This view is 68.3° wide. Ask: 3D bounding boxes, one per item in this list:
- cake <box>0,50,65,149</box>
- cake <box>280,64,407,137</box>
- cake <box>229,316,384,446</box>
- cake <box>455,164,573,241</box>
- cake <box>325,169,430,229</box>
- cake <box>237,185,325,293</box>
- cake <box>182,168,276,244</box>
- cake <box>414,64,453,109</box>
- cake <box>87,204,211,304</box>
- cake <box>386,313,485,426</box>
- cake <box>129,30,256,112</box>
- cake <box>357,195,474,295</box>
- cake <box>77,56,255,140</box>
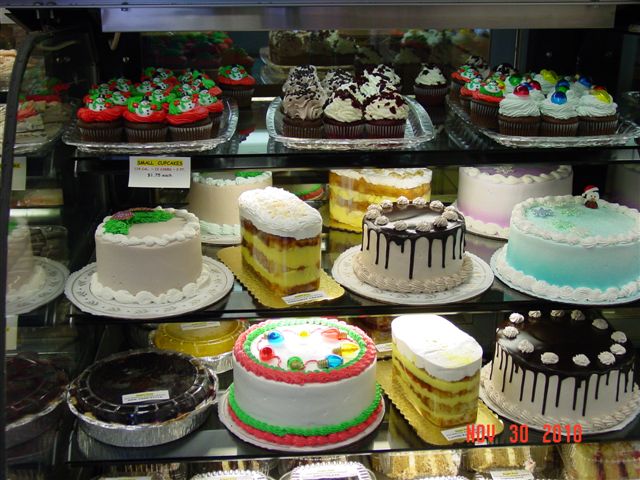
[{"bbox_3d":[-1.082,-0.504,1.745,0.060,0.380,0.276,12,11,42],"label":"cake"},{"bbox_3d":[0.089,-0.565,1.936,0.421,0.144,0.421,1,27,-3],"label":"cake"},{"bbox_3d":[-0.072,0.630,2.270,0.806,0.327,0.763,0,11,3],"label":"cake"},{"bbox_3d":[0.992,-0.290,2.458,0.529,0.253,0.497,-1,18,1],"label":"cake"},{"bbox_3d":[0.317,-0.285,2.578,0.414,0.224,0.399,-4,14,-11],"label":"cake"},{"bbox_3d":[-0.184,0.013,2.075,0.241,0.305,0.412,-15,30,-28],"label":"cake"},{"bbox_3d":[-0.513,-0.203,2.536,0.454,0.294,0.434,-2,15,-5],"label":"cake"},{"bbox_3d":[0.549,-0.778,2.344,0.173,0.190,0.164,-12,32,-15],"label":"cake"},{"bbox_3d":[-0.744,0.044,2.130,0.520,0.316,0.509,-5,21,-17],"label":"cake"},{"bbox_3d":[0.520,0.612,2.171,0.268,0.288,0.469,-9,23,-20],"label":"cake"},{"bbox_3d":[-0.635,-0.913,2.450,0.567,0.172,0.443,2,34,-1],"label":"cake"},{"bbox_3d":[0.428,-0.004,2.217,0.572,0.301,0.550,-12,22,-19],"label":"cake"},{"bbox_3d":[-0.598,-0.534,1.875,0.602,0.183,0.425,-11,31,-19],"label":"cake"}]
